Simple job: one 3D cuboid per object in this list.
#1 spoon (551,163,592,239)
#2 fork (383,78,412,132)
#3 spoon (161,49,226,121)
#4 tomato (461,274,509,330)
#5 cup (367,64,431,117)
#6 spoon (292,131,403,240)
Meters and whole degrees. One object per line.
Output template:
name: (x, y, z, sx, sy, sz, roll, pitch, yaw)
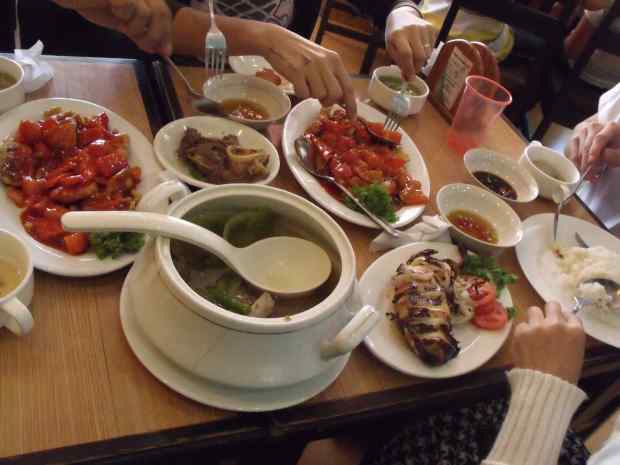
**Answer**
spoon: (1.169, -0.138, 2.189, 0.043, 0.049, 0.436, 27, 85, 41)
fork: (0.385, -0.529, 2.152, 0.061, 0.050, 0.434, 16, 56, 5)
spoon: (-0.477, -0.591, 1.994, 0.061, 0.090, 0.468, -28, 80, -45)
tomato: (0.590, 0.245, 1.609, 0.108, 0.033, 0.190, -2, 62, -8)
cup: (0.404, -0.642, 2.379, 0.268, 0.136, 0.276, 16, 42, -15)
spoon: (0.130, -0.162, 1.791, 0.511, 0.066, 0.091, 48, 19, 10)
